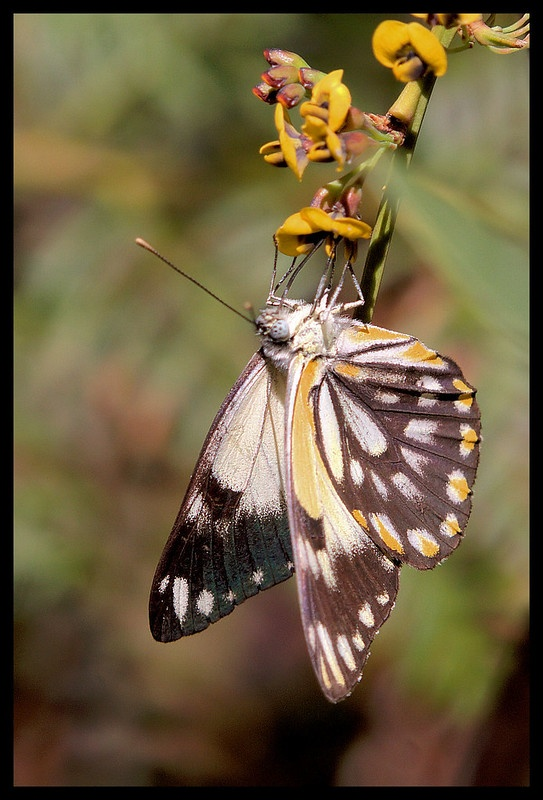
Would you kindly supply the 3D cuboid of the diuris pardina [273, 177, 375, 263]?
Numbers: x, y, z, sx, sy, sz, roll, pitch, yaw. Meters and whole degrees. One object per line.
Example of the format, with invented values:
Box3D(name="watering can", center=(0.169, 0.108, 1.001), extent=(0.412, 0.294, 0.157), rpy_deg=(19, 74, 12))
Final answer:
Box3D(name="diuris pardina", center=(0.113, -0.366, 1.837), extent=(0.180, 0.210, 0.091), rpy_deg=(-5, 76, 25))
